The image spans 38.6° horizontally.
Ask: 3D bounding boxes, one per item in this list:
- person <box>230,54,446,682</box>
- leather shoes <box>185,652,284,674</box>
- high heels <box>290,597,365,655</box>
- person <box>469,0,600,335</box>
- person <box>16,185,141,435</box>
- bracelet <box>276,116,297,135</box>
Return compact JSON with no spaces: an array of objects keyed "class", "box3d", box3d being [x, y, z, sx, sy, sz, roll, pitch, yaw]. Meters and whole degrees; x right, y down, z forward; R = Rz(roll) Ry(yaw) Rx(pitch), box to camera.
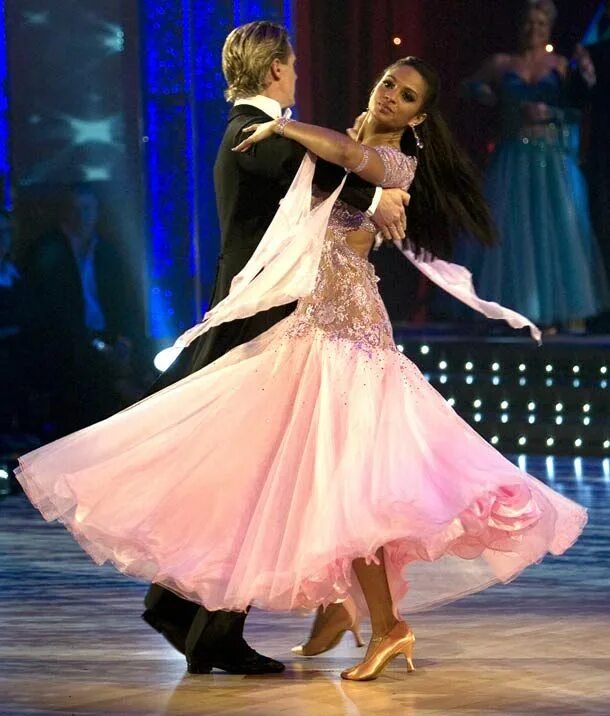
[{"class":"person","box3d":[0.104,0.038,2.038,0.467,1.460,0.603,7,13,28]},{"class":"leather shoes","box3d":[-0.162,0.699,2.032,0.220,0.044,0.071,-1,-1,-11]},{"class":"high heels","box3d":[0.046,0.713,2.268,0.221,0.083,0.141,-27,40,15]},{"class":"person","box3d":[1.690,-1.424,6.343,0.898,2.426,0.760,-2,12,-8]},{"class":"person","box3d":[-1.341,-0.285,5.103,0.614,1.443,0.290,-3,12,-14]},{"class":"bracelet","box3d":[-0.039,-0.515,1.911,0.053,0.042,0.020,1,9,18]}]
